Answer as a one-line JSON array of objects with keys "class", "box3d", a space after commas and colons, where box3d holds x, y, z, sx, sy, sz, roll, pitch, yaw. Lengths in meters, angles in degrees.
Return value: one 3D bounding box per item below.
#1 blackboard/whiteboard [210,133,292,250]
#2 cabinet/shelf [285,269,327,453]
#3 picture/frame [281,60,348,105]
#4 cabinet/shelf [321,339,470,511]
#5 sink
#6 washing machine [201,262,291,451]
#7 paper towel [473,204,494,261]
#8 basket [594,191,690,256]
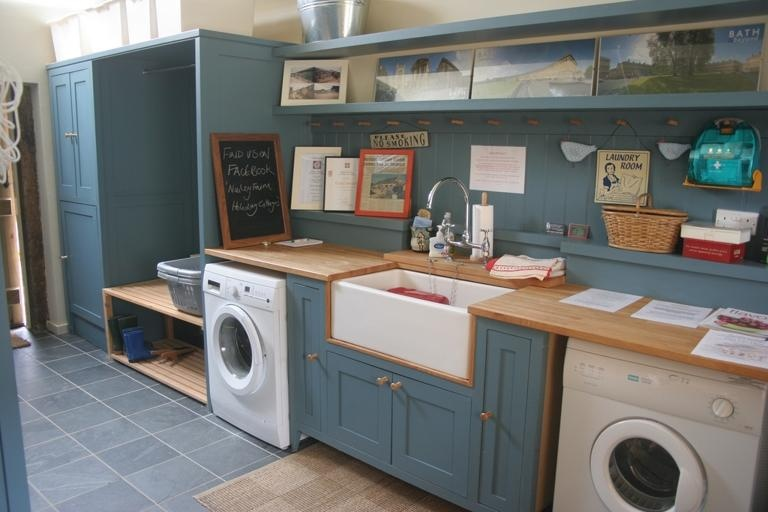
[{"class": "blackboard/whiteboard", "box3d": [-0.969, -0.487, 3.719, 0.526, 0.789, 0.165, -10, 17, -36]}, {"class": "cabinet/shelf", "box3d": [-0.501, 0.692, 3.201, 0.346, 1.134, 0.133, 9, 17, 35]}, {"class": "picture/frame", "box3d": [-0.500, -1.281, 3.751, 0.441, 0.272, 0.012, 3, 4, 14]}, {"class": "cabinet/shelf", "box3d": [0.088, 0.934, 2.837, 0.995, 0.540, 0.361, 10, 10, 36]}, {"class": "sink", "box3d": [0.230, 0.339, 2.921, 0.910, 0.333, 0.582, 14, 20, 40]}, {"class": "washing machine", "box3d": [-0.926, 0.651, 3.471, 0.792, 1.145, 0.287, 11, 18, 40]}, {"class": "paper towel", "box3d": [0.613, -0.154, 3.136, 0.139, 0.321, 0.144, 2, 14, 9]}, {"class": "basket", "box3d": [1.368, -0.175, 2.679, 0.399, 0.260, 0.327, 4, 7, 30]}]
